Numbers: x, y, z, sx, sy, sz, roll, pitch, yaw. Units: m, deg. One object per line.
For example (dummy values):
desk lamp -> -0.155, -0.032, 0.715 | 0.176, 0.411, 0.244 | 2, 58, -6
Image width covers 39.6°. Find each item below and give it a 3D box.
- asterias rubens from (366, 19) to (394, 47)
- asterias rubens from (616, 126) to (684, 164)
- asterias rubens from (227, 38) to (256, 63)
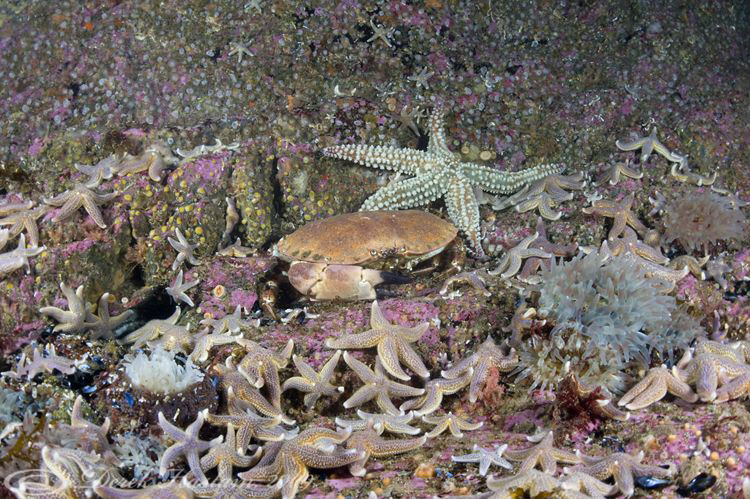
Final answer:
asterias rubens -> 0.080, -2.692, 13.203 | 0.302, 0.240, 0.251 | 4, 66, 10
asterias rubens -> 3.430, -1.245, 13.026 | 0.521, 0.145, 0.535 | 12, 52, 12
asterias rubens -> -1.663, -2.455, 12.996 | 0.266, 0.059, 0.287 | -2, 87, 0
